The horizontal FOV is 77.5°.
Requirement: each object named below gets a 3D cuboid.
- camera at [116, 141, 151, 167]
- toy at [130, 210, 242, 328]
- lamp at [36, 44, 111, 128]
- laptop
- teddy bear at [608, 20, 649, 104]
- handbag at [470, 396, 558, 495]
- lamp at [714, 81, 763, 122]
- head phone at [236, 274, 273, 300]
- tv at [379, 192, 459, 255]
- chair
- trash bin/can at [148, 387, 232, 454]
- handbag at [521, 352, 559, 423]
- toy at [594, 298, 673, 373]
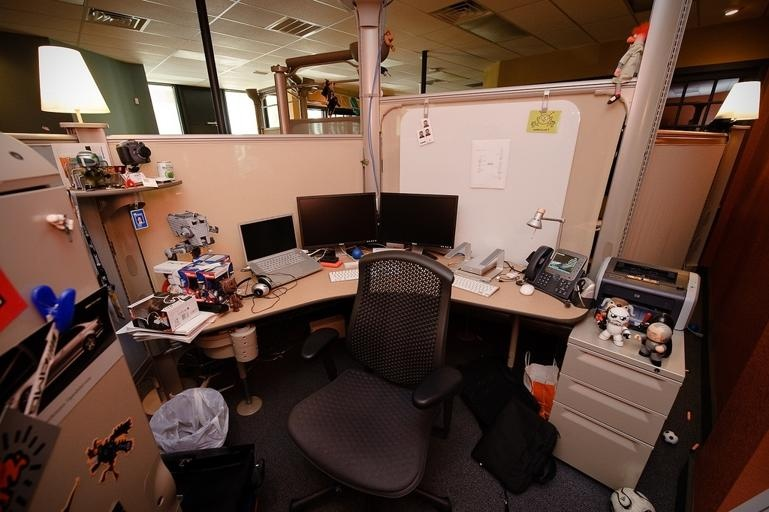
[{"bbox_3d":[-1.770,-0.716,3.366,0.100,0.158,0.173,6,17,19],"label":"camera"},{"bbox_3d":[-1.422,0.082,3.665,0.726,0.988,0.856,7,9,17],"label":"toy"},{"bbox_3d":[-2.359,-1.289,3.606,0.318,0.509,0.345,1,21,6],"label":"lamp"},{"bbox_3d":[-0.874,0.069,3.956,0.611,0.397,0.586,-22,51,-35],"label":"laptop"},{"bbox_3d":[1.731,-1.369,3.431,0.194,0.532,0.224,5,22,16],"label":"teddy bear"},{"bbox_3d":[0.950,1.359,3.418,0.481,0.468,0.403,17,27,39],"label":"handbag"},{"bbox_3d":[3.561,-1.544,4.811,0.349,0.372,0.324,12,24,30],"label":"lamp"},{"bbox_3d":[-0.989,0.239,3.663,0.214,0.094,0.197,3,23,22],"label":"head phone"},{"bbox_3d":[0.289,-0.288,3.979,0.527,0.362,0.150,4,17,15],"label":"tv"},{"bbox_3d":[-0.080,0.877,3.273,1.147,1.540,1.140,16,30,23],"label":"chair"},{"bbox_3d":[-1.382,1.174,3.390,0.461,0.164,0.413,-9,43,-29],"label":"trash bin/can"},{"bbox_3d":[1.222,0.983,3.826,0.308,0.513,0.410,7,17,29],"label":"handbag"},{"bbox_3d":[1.674,0.547,3.212,0.166,0.306,0.439,-1,16,-39],"label":"toy"}]
